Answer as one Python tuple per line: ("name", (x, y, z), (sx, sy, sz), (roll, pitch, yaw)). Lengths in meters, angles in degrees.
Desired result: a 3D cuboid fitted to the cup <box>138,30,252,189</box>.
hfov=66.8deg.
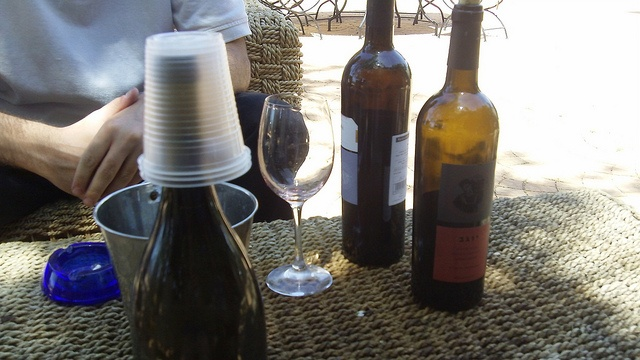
("cup", (-0.209, -0.109, 0.774), (0.171, 0.217, 0.135), (-6, 31, -13))
